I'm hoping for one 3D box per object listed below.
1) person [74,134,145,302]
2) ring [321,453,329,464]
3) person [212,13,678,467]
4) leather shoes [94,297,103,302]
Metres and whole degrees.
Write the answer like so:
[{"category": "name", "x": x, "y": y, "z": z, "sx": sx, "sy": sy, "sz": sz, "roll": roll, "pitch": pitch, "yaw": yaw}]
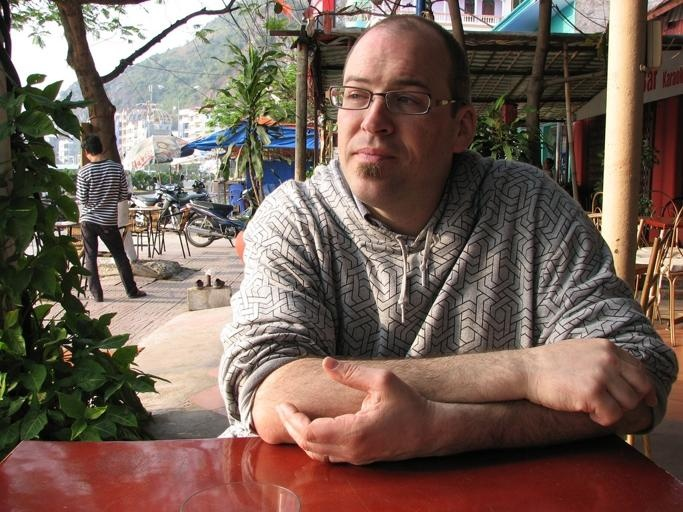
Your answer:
[{"category": "person", "x": -3.399, "y": -0.559, "z": 7.912, "sx": 0.749, "sy": 2.399, "sz": 0.827, "roll": -7, "pitch": 11, "yaw": -25}, {"category": "ring", "x": -0.041, "y": 0.483, "z": 1.296, "sx": 0.018, "sy": 0.013, "sz": 0.017, "roll": -1, "pitch": -8, "yaw": 0}, {"category": "person", "x": 0.253, "y": -0.115, "z": 1.702, "sx": 1.317, "sy": 1.313, "sz": 0.928, "roll": -5, "pitch": 10, "yaw": -15}, {"category": "leather shoes", "x": -3.439, "y": 0.611, "z": 7.711, "sx": 0.109, "sy": 0.071, "sz": 0.124, "roll": -8, "pitch": 11, "yaw": -31}]
